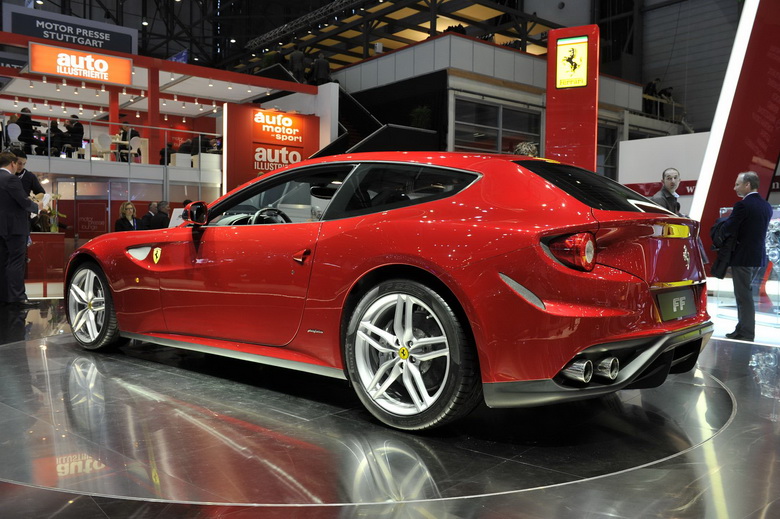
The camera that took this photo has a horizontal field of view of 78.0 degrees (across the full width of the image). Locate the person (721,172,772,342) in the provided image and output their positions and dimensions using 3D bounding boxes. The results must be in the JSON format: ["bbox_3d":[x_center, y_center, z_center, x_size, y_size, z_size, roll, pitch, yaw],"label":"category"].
[{"bbox_3d":[4.278,-0.052,5.778,0.370,1.994,0.599,6,7,39],"label":"person"}]

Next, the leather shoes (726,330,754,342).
[{"bbox_3d":[4.156,0.907,5.752,0.108,0.110,0.304,-1,12,-43],"label":"leather shoes"}]

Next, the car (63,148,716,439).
[{"bbox_3d":[-0.387,0.084,3.654,4.336,1.097,2.026,6,3,35],"label":"car"}]

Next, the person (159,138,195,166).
[{"bbox_3d":[-7.350,-3.669,16.385,0.625,0.681,1.208,2,4,42],"label":"person"}]
